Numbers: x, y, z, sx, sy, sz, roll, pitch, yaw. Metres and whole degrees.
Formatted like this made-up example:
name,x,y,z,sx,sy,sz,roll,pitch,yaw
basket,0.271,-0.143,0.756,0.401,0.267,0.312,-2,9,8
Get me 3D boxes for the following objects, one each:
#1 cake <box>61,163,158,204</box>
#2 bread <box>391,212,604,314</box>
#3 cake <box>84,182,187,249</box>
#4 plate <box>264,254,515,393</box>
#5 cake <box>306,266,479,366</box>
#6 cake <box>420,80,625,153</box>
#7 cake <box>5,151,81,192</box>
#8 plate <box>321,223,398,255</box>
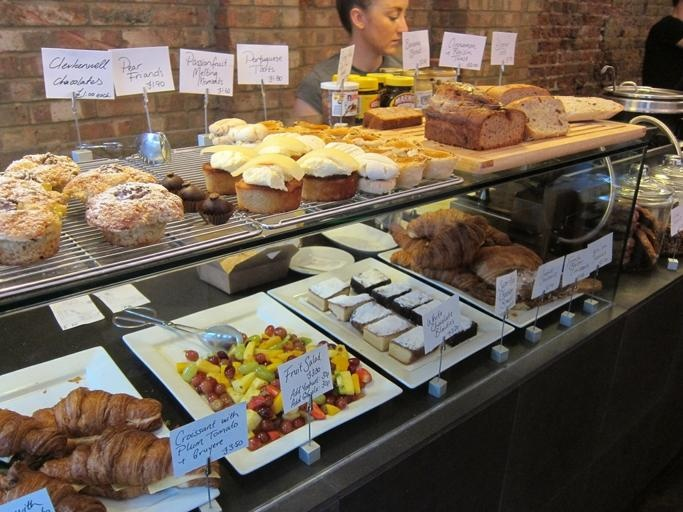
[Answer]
name,x,y,z,sx,sy,sz,roll,pitch,yaw
cake,-0.606,-0.206,1.258,0.171,0.047,0.144,0,15,2
bread,0.587,-0.053,1.967,0.649,0.159,0.423,19,19,15
cake,-0.464,-0.100,1.120,0.193,0.097,0.217,-21,29,-37
plate,0.093,0.223,1.791,0.651,0.075,0.486,25,36,36
cake,0.122,0.184,1.834,0.344,0.056,0.474,-24,36,-38
cake,0.536,-0.517,1.782,0.510,0.202,0.327,-18,28,-33
cake,-0.785,-0.228,1.299,0.159,0.041,0.140,15,13,7
plate,0.091,-0.079,2.014,0.217,0.030,0.147,15,29,23
